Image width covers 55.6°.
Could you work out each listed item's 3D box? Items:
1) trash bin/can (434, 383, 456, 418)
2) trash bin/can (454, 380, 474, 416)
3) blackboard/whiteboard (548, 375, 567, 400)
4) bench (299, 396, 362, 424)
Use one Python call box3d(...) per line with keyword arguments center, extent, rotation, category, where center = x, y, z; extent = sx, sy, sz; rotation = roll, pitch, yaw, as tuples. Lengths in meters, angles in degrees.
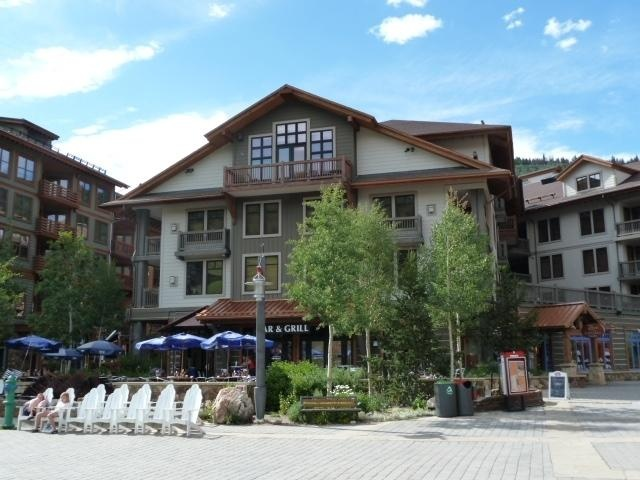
box3d(center=(4.175, 5.273, 19.879), extent=(0.762, 1.082, 0.446), rotation=(-1, -14, 1), category="trash bin/can")
box3d(center=(4.817, 5.270, 20.121), extent=(0.434, 1.129, 0.546), rotation=(-7, -16, 25), category="trash bin/can")
box3d(center=(9.913, 6.094, 25.206), extent=(0.750, 1.032, 0.540), rotation=(-8, -16, 27), category="blackboard/whiteboard")
box3d(center=(0.330, 5.361, 19.079), extent=(1.848, 0.778, 0.671), rotation=(0, -14, -3), category="bench")
